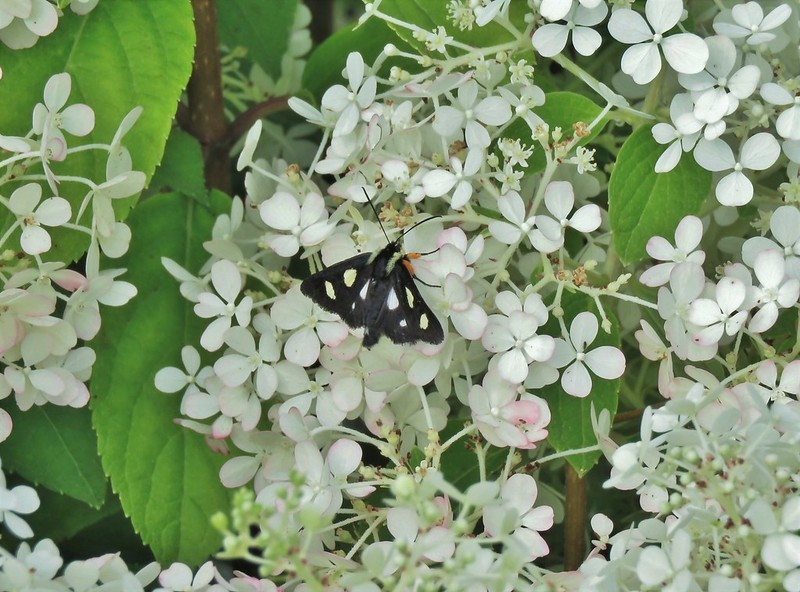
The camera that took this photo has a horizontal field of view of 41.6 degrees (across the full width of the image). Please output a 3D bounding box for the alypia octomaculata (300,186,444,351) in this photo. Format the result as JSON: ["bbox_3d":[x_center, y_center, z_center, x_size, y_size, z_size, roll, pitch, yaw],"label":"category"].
[{"bbox_3d":[-0.026,-0.023,1.190,0.163,0.175,0.052,-3,18,0],"label":"alypia octomaculata"}]
